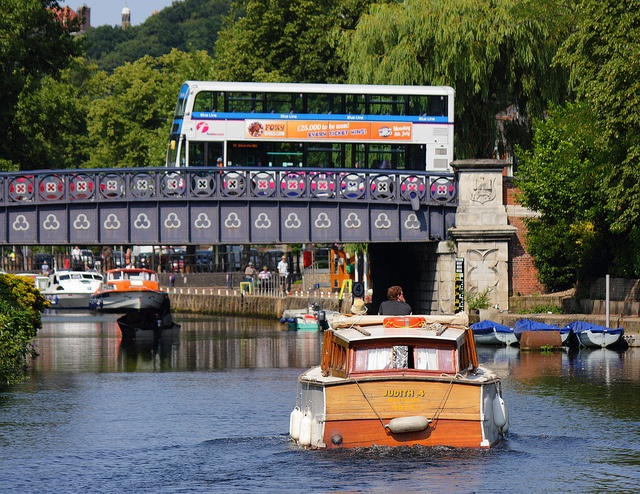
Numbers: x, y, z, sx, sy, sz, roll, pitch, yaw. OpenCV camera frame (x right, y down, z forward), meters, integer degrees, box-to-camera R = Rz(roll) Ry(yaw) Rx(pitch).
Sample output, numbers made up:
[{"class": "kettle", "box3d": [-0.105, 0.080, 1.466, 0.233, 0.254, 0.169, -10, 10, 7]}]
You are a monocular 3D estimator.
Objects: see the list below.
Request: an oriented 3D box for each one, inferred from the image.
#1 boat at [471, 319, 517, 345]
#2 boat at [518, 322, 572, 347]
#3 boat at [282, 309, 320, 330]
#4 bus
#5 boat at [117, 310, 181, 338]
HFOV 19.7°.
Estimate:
[{"class": "boat", "box3d": [8.010, 3.838, 84.758, 1.118, 1.004, 2.165, 1, -4, -23]}, {"class": "boat", "box3d": [10.068, 3.895, 83.555, 2.524, 1.422, 1.020, 5, 1, 24]}, {"class": "boat", "box3d": [-1.013, 3.682, 97.332, 1.489, 0.887, 1.049, 0, 0, 17]}, {"class": "bus", "box3d": [-0.084, -5.805, 87.827, 12.461, 4.407, 0.595, -2, -1, -9]}, {"class": "boat", "box3d": [-8.716, 3.714, 92.689, 2.796, 1.274, 1.424, -2, -2, 1]}]
